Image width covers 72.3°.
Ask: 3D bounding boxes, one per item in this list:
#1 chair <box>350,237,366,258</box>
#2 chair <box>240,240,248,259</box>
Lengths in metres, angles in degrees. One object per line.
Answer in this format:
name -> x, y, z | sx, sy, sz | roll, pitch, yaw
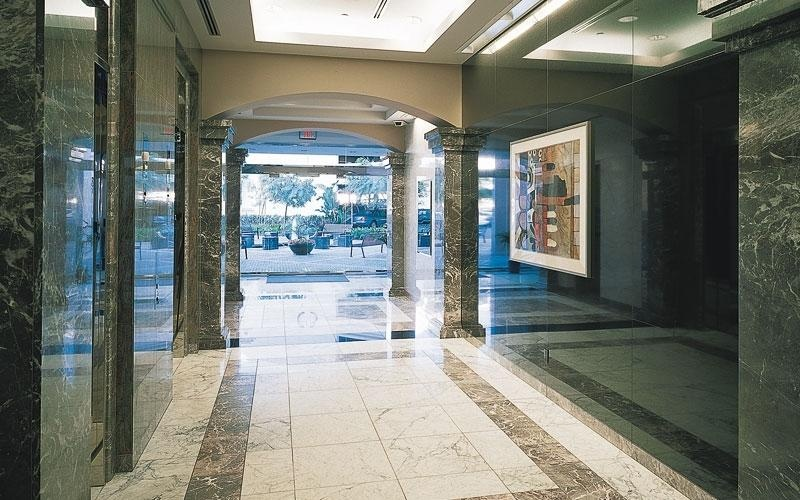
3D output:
chair -> -1.203, -0.089, 15.781 | 0.544, 0.643, 0.501 | -1, -3, 15
chair -> -4.387, -0.008, 15.513 | 0.215, 0.540, 0.139 | 2, 11, 6
